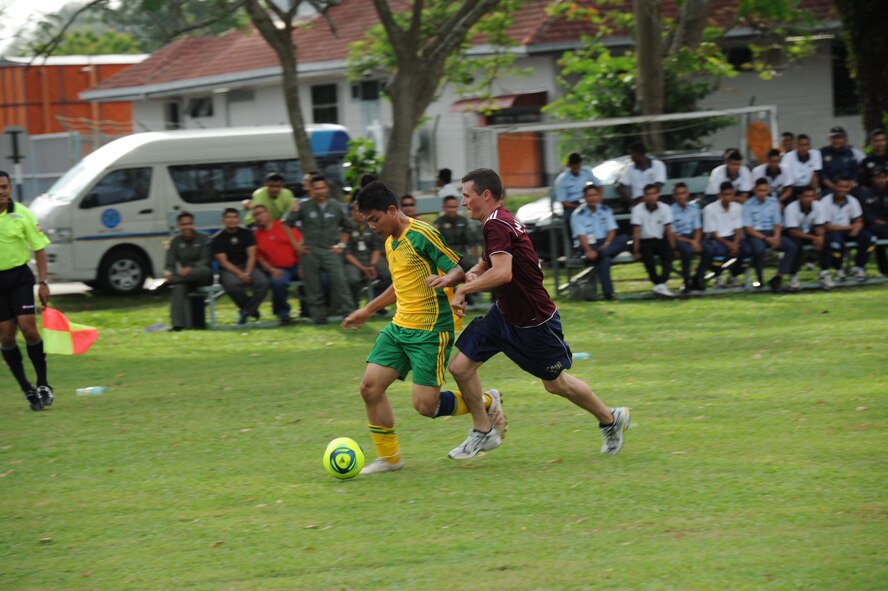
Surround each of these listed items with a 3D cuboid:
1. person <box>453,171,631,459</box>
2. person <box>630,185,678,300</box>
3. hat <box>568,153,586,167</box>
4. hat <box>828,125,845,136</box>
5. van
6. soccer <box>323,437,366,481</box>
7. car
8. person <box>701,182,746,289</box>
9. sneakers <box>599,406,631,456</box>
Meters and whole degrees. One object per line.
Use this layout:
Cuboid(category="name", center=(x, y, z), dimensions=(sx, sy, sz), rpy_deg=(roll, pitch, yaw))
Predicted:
Cuboid(category="person", center=(0.767, 0.208, 12.382), dimensions=(1.708, 2.978, 0.580), rpy_deg=(-6, 6, -1))
Cuboid(category="person", center=(3.285, -0.858, 19.352), dimensions=(0.653, 1.771, 0.355), rpy_deg=(-6, 6, 6))
Cuboid(category="hat", center=(2.088, -2.156, 19.590), dimensions=(0.311, 0.173, 0.232), rpy_deg=(-2, -8, 17))
Cuboid(category="hat", center=(6.408, -2.704, 20.135), dimensions=(0.319, 0.126, 0.366), rpy_deg=(0, 2, 19))
Cuboid(category="van", center=(-5.276, -1.835, 22.719), dimensions=(6.548, 1.766, 2.566), rpy_deg=(-1, 1, -18))
Cuboid(category="soccer", center=(-1.001, 1.665, 12.539), dimensions=(0.350, 0.332, 0.315), rpy_deg=(38, 14, -43))
Cuboid(category="car", center=(3.245, -1.724, 20.865), dimensions=(4.339, 1.137, 1.751), rpy_deg=(0, 5, -3))
Cuboid(category="person", center=(4.425, -0.969, 19.395), dimensions=(0.560, 1.638, 0.402), rpy_deg=(-11, 7, -39))
Cuboid(category="sneakers", center=(1.744, 1.379, 12.668), dimensions=(0.377, 0.474, 0.221), rpy_deg=(6, 18, -16))
